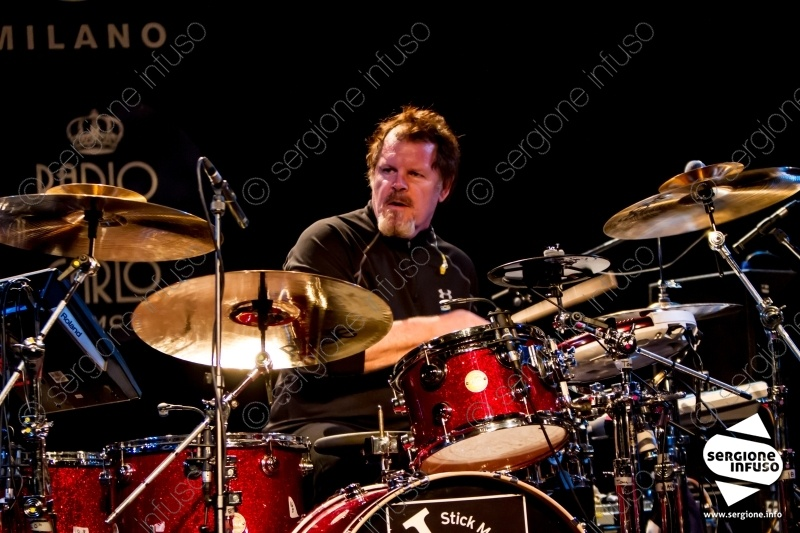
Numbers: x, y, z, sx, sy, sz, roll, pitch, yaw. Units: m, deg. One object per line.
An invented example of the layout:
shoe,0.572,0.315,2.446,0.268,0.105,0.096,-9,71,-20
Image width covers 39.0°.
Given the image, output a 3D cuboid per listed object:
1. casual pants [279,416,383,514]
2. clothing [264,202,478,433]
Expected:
casual pants,-0.410,1.182,6.574,0.577,0.354,0.523,0,-8,-5
clothing,-0.163,0.350,6.560,1.274,1.022,0.671,23,-33,-23
